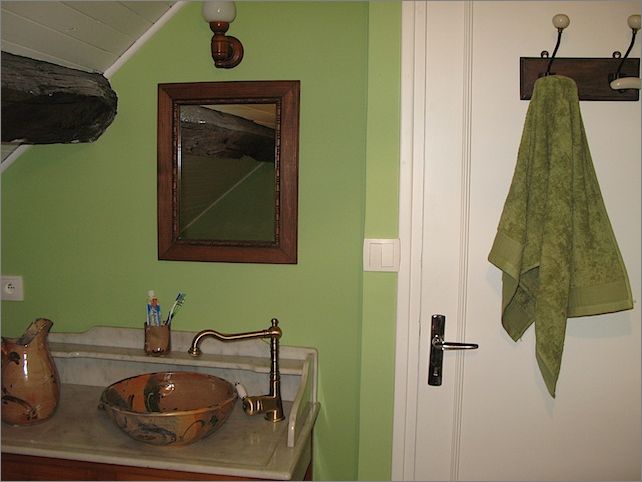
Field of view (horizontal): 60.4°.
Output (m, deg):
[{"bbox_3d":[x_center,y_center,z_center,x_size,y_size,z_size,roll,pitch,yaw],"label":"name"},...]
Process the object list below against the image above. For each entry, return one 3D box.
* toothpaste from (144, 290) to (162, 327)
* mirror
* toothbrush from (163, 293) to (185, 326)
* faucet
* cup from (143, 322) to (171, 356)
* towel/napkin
[{"bbox_3d":[-0.674,0.272,2.217,0.066,0.132,0.148,5,3,-18],"label":"toothpaste"},{"bbox_3d":[-0.351,-0.294,2.182,0.702,0.918,0.036,1,2,8],"label":"mirror"},{"bbox_3d":[-0.595,0.276,2.218,0.075,0.138,0.092,5,3,-15],"label":"toothbrush"},{"bbox_3d":[-0.306,0.488,2.001,0.356,0.381,0.142,0,10,-9],"label":"faucet"},{"bbox_3d":[-0.663,0.389,2.210,0.115,0.128,0.111,5,8,-1],"label":"cup"},{"bbox_3d":[0.833,-0.017,1.886,0.472,1.074,0.076,6,3,4],"label":"towel/napkin"}]
